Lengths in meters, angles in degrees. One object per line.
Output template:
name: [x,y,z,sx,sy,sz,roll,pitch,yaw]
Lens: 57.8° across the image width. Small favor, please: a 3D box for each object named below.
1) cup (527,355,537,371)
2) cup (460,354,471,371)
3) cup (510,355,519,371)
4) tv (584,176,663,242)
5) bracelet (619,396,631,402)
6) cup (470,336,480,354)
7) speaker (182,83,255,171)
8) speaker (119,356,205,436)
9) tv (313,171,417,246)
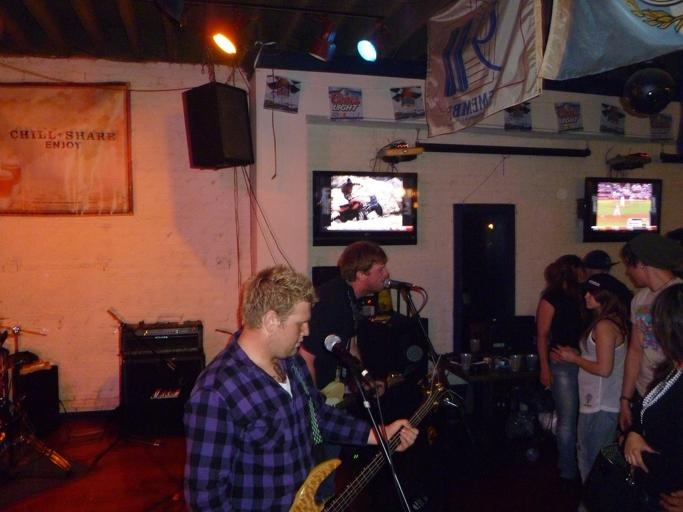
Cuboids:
cup: [1.959,1.080,6.328,0.082,0.144,0.130,0,4,44]
cup: [1.264,1.065,6.288,0.126,0.194,0.124,0,-9,0]
cup: [1.797,1.096,6.386,0.120,0.136,0.117,2,-31,1]
tv: [3.322,-0.560,7.333,0.808,0.651,0.086,-1,3,-10]
bracelet: [2.321,1.157,5.043,0.063,0.027,0.074,1,-7,2]
cup: [1.439,0.947,6.650,0.090,0.151,0.096,-2,3,0]
speaker: [-1.241,-1.317,6.244,0.646,0.783,0.370,-3,3,-8]
speaker: [-1.880,1.355,6.775,1.116,1.119,0.779,0,-6,-9]
tv: [0.202,-0.533,6.806,0.845,0.588,0.059,0,4,-13]
